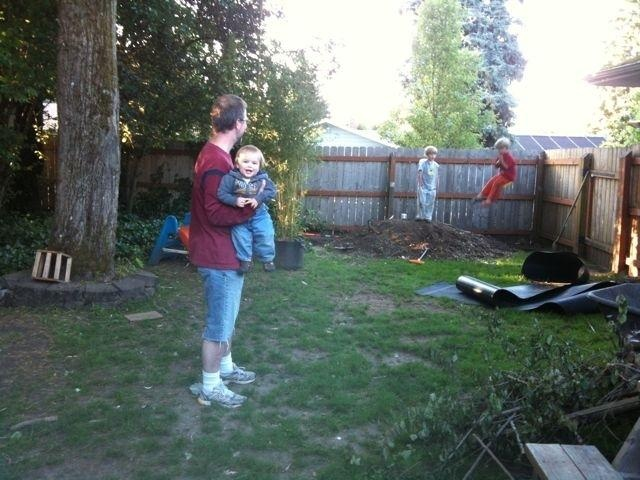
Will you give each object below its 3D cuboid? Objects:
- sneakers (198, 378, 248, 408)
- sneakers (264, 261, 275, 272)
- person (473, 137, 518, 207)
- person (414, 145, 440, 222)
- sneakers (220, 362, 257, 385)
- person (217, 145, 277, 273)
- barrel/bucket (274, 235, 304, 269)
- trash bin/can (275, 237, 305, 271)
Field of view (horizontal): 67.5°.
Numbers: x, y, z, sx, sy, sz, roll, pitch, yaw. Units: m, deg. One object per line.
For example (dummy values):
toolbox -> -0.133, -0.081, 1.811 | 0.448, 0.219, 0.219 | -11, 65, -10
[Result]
sneakers -> -0.840, 1.292, 4.115 | 0.455, 0.239, 0.181 | 4, 15, -4
sneakers -> -0.432, 0.217, 4.024 | 0.101, 0.064, 0.176 | -1, -2, -15
person -> 4.124, -1.593, 11.203 | 0.694, 1.563, 0.718 | -3, 13, -21
person -> 2.690, -1.399, 12.076 | 0.504, 1.883, 1.110 | 4, 12, 12
sneakers -> -0.755, 1.241, 4.461 | 0.321, 0.172, 0.132 | 0, 7, -23
person -> -0.595, -0.245, 3.899 | 0.446, 1.030, 0.289 | 0, 12, -7
barrel/bucket -> -0.537, 0.232, 8.419 | 0.535, 0.542, 0.515 | 1, 7, 0
trash bin/can -> -0.558, 0.180, 8.440 | 0.559, 0.573, 0.569 | -10, 23, -29
